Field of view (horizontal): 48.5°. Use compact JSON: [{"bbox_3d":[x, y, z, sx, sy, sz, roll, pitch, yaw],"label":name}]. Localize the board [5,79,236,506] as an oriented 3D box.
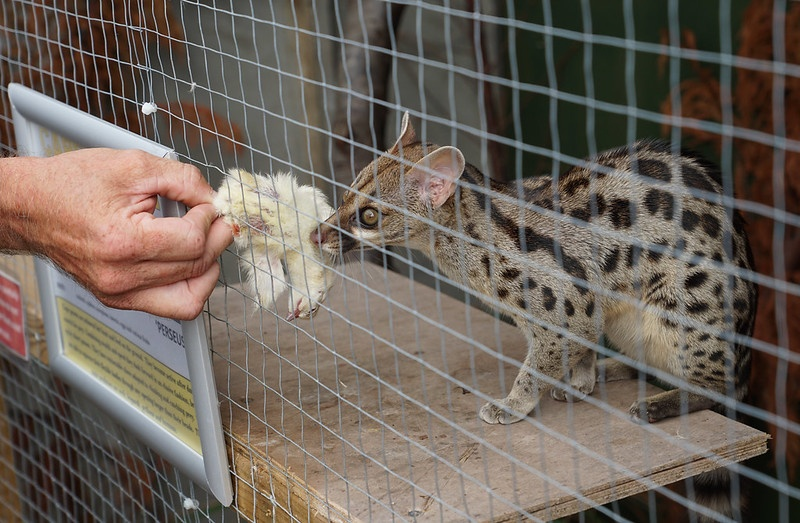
[{"bbox_3d":[-0.932,0.149,2.919,0.090,1.315,1.227,-19,41,-32],"label":"board"}]
